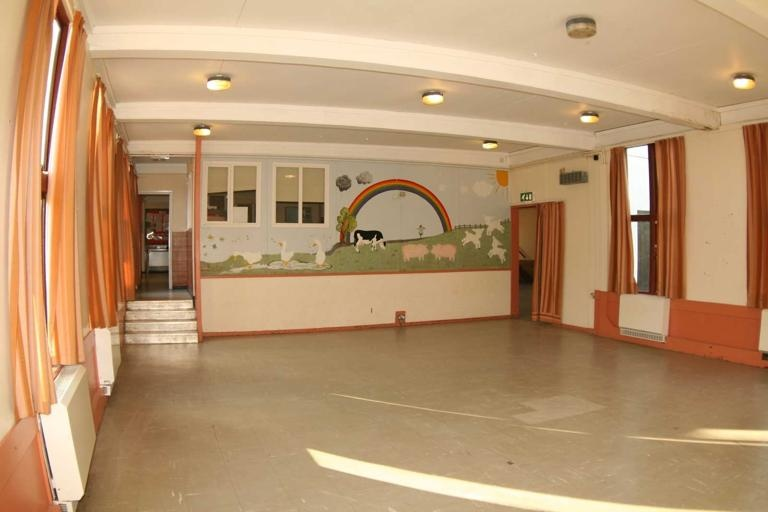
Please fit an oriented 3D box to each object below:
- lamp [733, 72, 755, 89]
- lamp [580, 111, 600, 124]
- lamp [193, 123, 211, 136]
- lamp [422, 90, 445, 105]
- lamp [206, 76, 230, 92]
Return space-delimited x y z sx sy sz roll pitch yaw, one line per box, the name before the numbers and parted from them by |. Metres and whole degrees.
lamp | 4.995 -2.416 7.065 0.244 0.138 0.238 4 -6 -27
lamp | 3.402 -2.341 8.571 0.264 0.059 0.256 1 -2 -23
lamp | -3.130 -2.196 8.874 0.263 0.097 0.254 0 0 22
lamp | 0.726 -2.402 7.615 0.317 0.167 0.295 1 8 4
lamp | -2.275 -2.396 6.974 0.318 0.166 0.303 -2 8 -13
